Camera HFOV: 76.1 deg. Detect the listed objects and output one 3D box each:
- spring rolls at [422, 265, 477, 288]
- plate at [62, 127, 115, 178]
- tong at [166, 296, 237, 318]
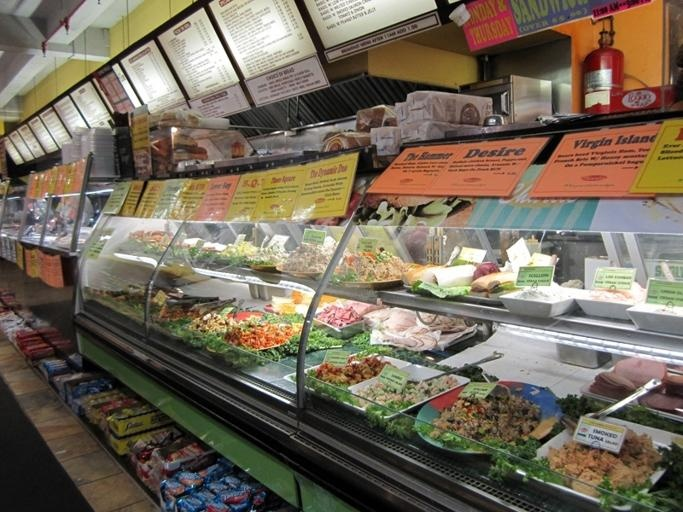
[{"bbox_3d":[0.442,0.079,1.792,0.181,0.045,0.106,-3,9,-14],"label":"spring rolls"},{"bbox_3d":[-2.345,-0.930,4.132,0.285,0.427,0.717,1,-2,-19],"label":"plate"},{"bbox_3d":[-0.804,0.320,2.705,0.564,0.113,0.130,-3,36,10],"label":"tong"}]
